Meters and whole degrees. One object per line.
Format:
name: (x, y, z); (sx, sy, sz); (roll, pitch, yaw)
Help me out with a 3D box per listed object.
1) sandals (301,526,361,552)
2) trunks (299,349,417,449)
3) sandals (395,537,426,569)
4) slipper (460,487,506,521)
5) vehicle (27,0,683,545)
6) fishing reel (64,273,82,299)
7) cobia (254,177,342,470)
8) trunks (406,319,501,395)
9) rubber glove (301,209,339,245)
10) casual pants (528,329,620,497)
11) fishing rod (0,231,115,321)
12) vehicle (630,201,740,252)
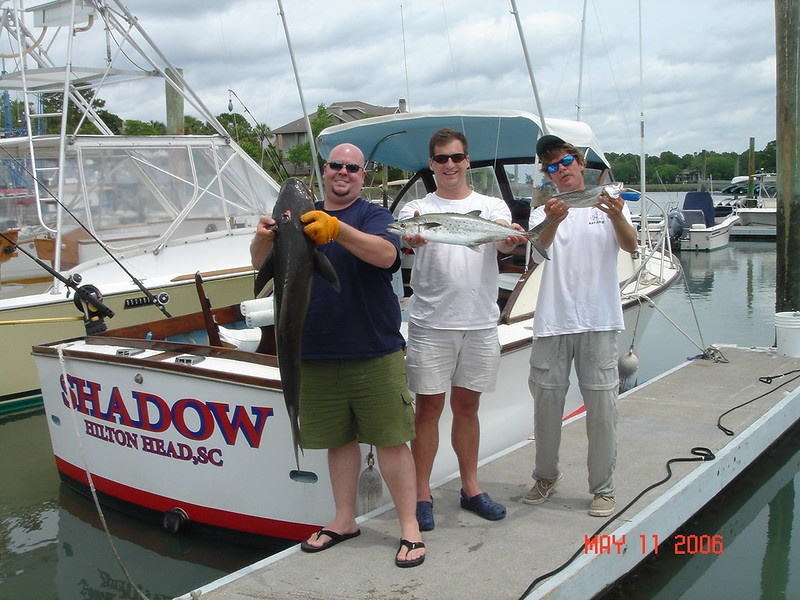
sandals: (-0.403, 1.344, 3.481); (0.286, 0.076, 0.112); (-1, -3, -33)
trunks: (-0.213, 0.532, 3.587); (0.834, 0.751, 0.481); (-3, -10, 5)
sandals: (0.053, 1.352, 3.335); (0.157, 0.119, 0.112); (0, 14, 0)
slipper: (0.505, 1.228, 3.752); (0.236, 0.096, 0.122); (6, 13, 37)
vehicle: (0.343, -0.561, 6.102); (3.260, 2.688, 6.429); (8, 19, 37)
fishing reel: (-2.984, -0.129, 5.641); (0.192, 0.264, 0.067); (14, 5, 27)
cobia: (-0.514, 0.178, 3.219); (0.449, 1.580, 0.453); (14, 20, 43)
trunks: (0.299, 0.342, 3.649); (0.673, 0.512, 0.373); (0, -1, -5)
rubber glove: (-0.393, -0.371, 3.038); (0.140, 0.074, 0.179); (-31, 48, -33)
casual pants: (1.024, 0.601, 3.719); (0.488, 1.083, 0.306); (-3, -27, 26)
fishing rod: (-3.774, -0.272, 6.841); (1.489, 0.312, 0.251); (36, -22, 1)
vehicle: (10.875, -2.707, 23.684); (3.243, 1.539, 4.577); (-1, 12, 39)
